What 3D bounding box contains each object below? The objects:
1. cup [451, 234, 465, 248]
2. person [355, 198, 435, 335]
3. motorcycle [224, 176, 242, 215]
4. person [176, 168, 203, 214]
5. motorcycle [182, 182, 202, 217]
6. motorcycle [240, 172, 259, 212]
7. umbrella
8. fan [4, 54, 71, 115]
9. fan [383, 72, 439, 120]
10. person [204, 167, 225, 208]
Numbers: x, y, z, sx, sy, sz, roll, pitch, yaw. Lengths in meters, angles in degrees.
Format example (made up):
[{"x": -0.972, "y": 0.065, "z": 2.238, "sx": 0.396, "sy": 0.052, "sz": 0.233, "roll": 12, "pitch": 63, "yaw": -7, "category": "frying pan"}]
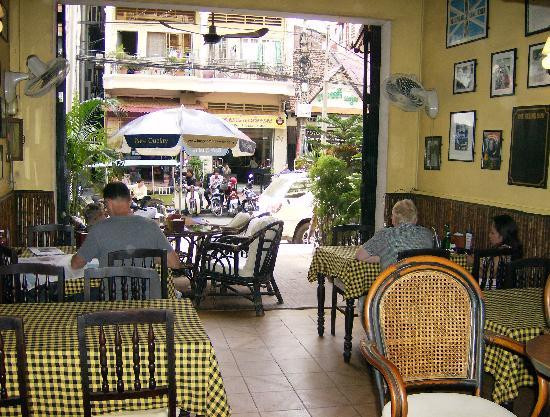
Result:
[{"x": 2.069, "y": 0.381, "z": 6.390, "sx": 0.142, "sy": 0.179, "sz": 0.144, "roll": 1, "pitch": 0, "yaw": 0, "category": "cup"}, {"x": 1.217, "y": 0.678, "z": 5.695, "sx": 0.678, "sy": 1.673, "sz": 0.506, "roll": -5, "pitch": 27, "yaw": -16, "category": "person"}, {"x": -1.325, "y": -0.454, "z": 17.328, "sx": 0.458, "sy": 0.697, "sz": 1.124, "roll": -1, "pitch": 22, "yaw": -4, "category": "motorcycle"}, {"x": -2.440, "y": -0.436, "z": 16.697, "sx": 0.764, "sy": 1.085, "sz": 1.611, "roll": -1, "pitch": 4, "yaw": -4, "category": "person"}, {"x": -2.358, "y": -0.271, "z": 16.604, "sx": 0.612, "sy": 1.050, "sz": 1.691, "roll": -2, "pitch": 3, "yaw": -3, "category": "motorcycle"}, {"x": -0.830, "y": -0.399, "z": 18.027, "sx": 0.718, "sy": 1.117, "sz": 1.520, "roll": 3, "pitch": 15, "yaw": -4, "category": "motorcycle"}, {"x": -1.585, "y": -1.120, "z": 9.123, "sx": 1.807, "sy": 1.488, "sz": 2.010, "roll": 4, "pitch": 8, "yaw": 26, "category": "umbrella"}, {"x": -2.681, "y": -1.457, "z": 6.235, "sx": 0.769, "sy": 0.519, "sz": 0.302, "roll": 3, "pitch": 7, "yaw": 11, "category": "fan"}, {"x": 1.797, "y": -1.487, "z": 7.354, "sx": 0.827, "sy": 0.531, "sz": 0.305, "roll": -4, "pitch": 8, "yaw": -33, "category": "fan"}, {"x": -1.899, "y": -0.779, "z": 17.814, "sx": 0.582, "sy": 0.822, "sz": 1.159, "roll": -1, "pitch": 6, "yaw": 7, "category": "person"}]
